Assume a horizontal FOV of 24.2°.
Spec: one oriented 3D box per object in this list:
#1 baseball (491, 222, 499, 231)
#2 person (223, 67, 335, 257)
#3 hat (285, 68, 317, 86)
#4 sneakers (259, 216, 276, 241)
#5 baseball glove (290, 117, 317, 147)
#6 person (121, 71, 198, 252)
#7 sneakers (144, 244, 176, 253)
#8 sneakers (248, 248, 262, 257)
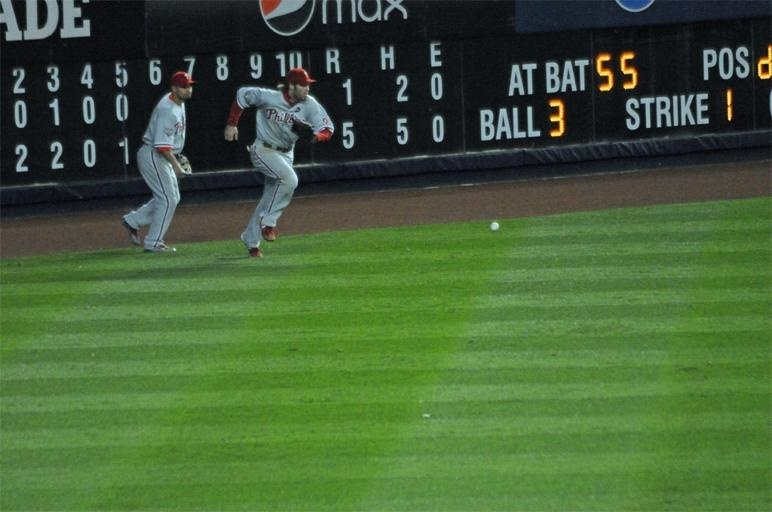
[{"bbox_3d":[1.226,-0.365,20.361,0.093,0.086,0.048,-2,-7,13],"label":"baseball"},{"bbox_3d":[-1.160,-1.063,19.688,1.132,2.034,0.410,-4,8,-5],"label":"person"},{"bbox_3d":[-0.959,-1.950,19.576,0.386,0.193,0.260,-8,23,-5],"label":"hat"},{"bbox_3d":[-1.294,-0.306,19.710,0.117,0.294,0.135,-5,28,-19],"label":"sneakers"},{"bbox_3d":[-0.823,-1.438,19.750,0.361,0.145,0.237,34,0,-31],"label":"baseball glove"},{"bbox_3d":[-2.485,-1.049,19.854,0.801,1.995,0.422,0,9,23],"label":"person"},{"bbox_3d":[-2.506,-0.105,19.972,0.351,0.127,0.114,-2,9,-2],"label":"sneakers"},{"bbox_3d":[-1.432,-0.064,19.686,0.081,0.072,0.180,1,8,-4],"label":"sneakers"}]
